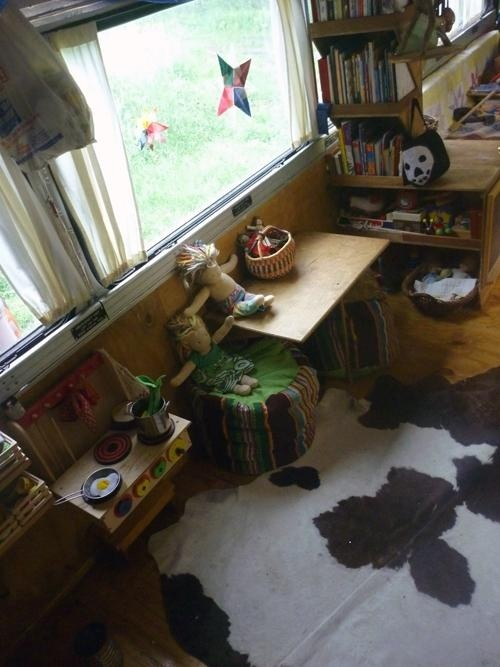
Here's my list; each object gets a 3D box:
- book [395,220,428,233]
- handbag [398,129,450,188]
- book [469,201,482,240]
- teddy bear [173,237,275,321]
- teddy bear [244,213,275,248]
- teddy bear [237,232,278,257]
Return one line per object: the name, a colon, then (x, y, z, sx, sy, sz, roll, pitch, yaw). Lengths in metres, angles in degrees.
book: (0.929, -0.626, 3.043, 0.115, 0.053, 0.093, 18, 39, 38)
handbag: (0.921, -0.929, 2.796, 0.260, 0.285, 0.150, 0, 34, 26)
book: (1.217, -0.601, 2.829, 0.043, 0.152, 0.122, 1, 15, 8)
teddy bear: (-0.142, -0.253, 2.375, 0.398, 0.373, 0.257, -19, 29, -6)
teddy bear: (0.030, -0.507, 2.641, 0.120, 0.062, 0.189, -19, 40, 11)
teddy bear: (0.038, -0.457, 2.601, 0.137, 0.056, 0.169, -39, 44, -21)
